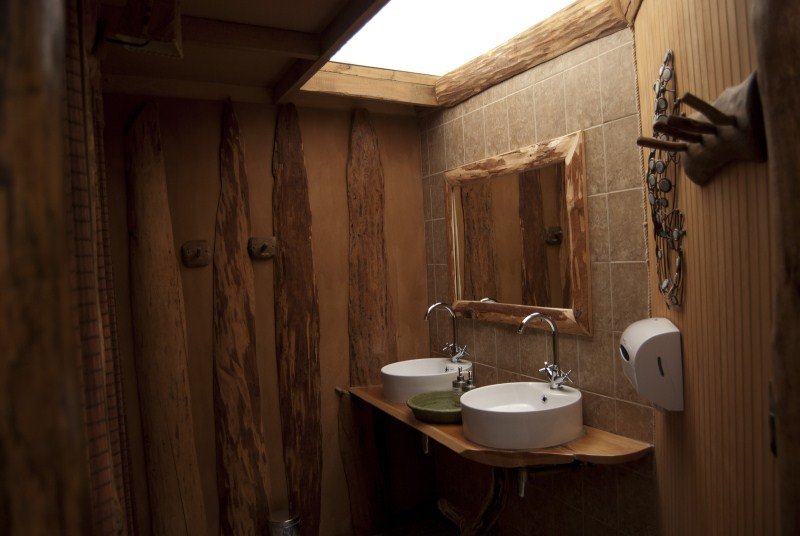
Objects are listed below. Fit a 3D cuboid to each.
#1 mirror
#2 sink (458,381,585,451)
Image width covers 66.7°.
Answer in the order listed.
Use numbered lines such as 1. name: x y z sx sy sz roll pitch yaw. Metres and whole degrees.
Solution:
1. mirror: 0.576 -0.166 2.864 0.055 0.874 1.030 -1 -3 -26
2. sink: 0.487 0.593 2.501 0.487 0.210 0.482 -4 -1 25
